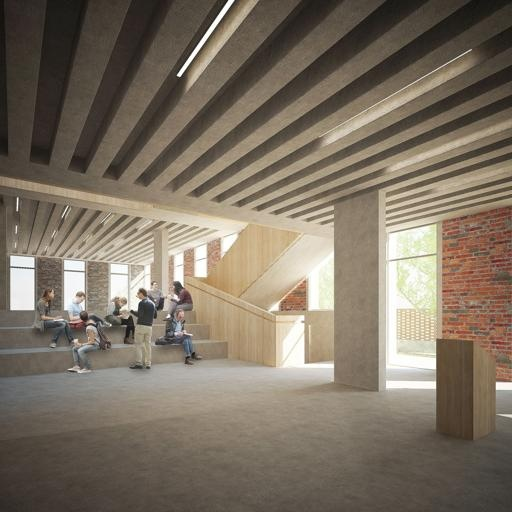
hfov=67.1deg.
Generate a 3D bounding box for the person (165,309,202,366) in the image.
[{"bbox_3d":[-1.477,2.008,9.642,0.712,1.305,0.611,1,-10,0],"label":"person"}]

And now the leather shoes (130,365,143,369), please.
[{"bbox_3d":[-2.260,2.428,8.482,0.217,0.101,0.091,6,-12,1],"label":"leather shoes"}]

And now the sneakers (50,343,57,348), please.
[{"bbox_3d":[-3.941,1.976,8.543,0.070,0.086,0.193,3,-3,-32],"label":"sneakers"}]

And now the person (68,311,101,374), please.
[{"bbox_3d":[-3.284,1.848,8.377,0.509,1.267,0.853,8,-12,-35],"label":"person"}]

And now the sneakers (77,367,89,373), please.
[{"bbox_3d":[-3.131,2.384,8.028,0.199,0.087,0.082,16,-21,-40],"label":"sneakers"}]

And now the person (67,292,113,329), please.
[{"bbox_3d":[-3.329,1.262,9.012,1.006,0.799,0.494,0,4,16],"label":"person"}]

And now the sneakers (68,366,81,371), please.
[{"bbox_3d":[-3.289,2.337,8.028,0.243,0.108,0.090,7,-22,-6],"label":"sneakers"}]
